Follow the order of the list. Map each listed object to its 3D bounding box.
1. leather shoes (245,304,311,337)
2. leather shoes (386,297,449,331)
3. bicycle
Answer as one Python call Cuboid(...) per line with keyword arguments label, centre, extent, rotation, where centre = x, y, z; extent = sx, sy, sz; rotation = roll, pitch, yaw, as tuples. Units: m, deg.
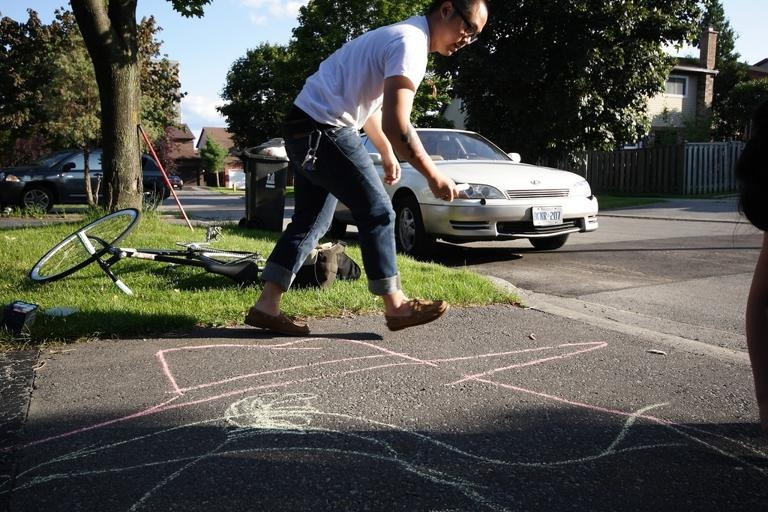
Cuboid(label="leather shoes", centre=(-0.816, 0.497, 4.884), extent=(0.549, 0.221, 0.204), rotation=(13, 3, -18))
Cuboid(label="leather shoes", centre=(0.232, 0.414, 4.756), extent=(0.476, 0.199, 0.198), rotation=(-15, 31, 12))
Cuboid(label="bicycle", centre=(-2.259, -0.093, 6.114), extent=(2.127, 0.694, 1.157), rotation=(0, 9, 6))
